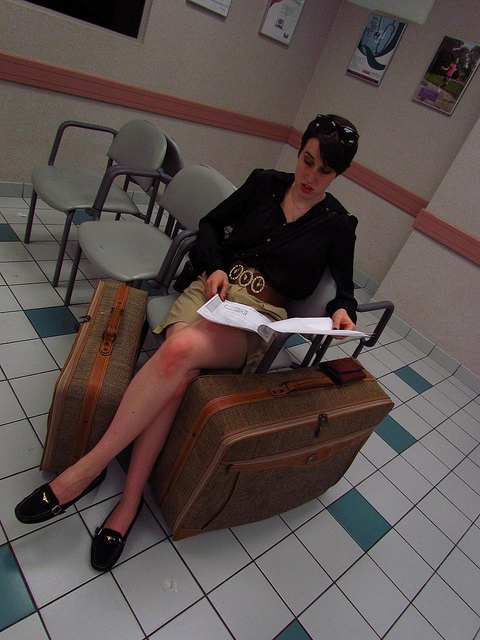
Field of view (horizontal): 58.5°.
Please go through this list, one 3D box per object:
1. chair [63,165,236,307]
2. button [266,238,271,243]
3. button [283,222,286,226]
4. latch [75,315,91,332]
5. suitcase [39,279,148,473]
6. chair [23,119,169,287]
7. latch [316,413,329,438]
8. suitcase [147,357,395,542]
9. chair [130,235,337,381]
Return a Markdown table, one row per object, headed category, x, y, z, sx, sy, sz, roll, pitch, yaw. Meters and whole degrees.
| category | x | y | z | sx | sy | sz | roll | pitch | yaw |
| --- | --- | --- | --- | --- | --- | --- | --- | --- | --- |
| chair | -0.398 | -0.355 | 1.822 | 0.476 | 0.627 | 0.506 | -13 | 56 | -42 |
| button | 0.097 | -0.272 | 1.464 | 0.018 | 0.017 | 0.006 | 3 | -5 | 9 |
| button | 0.154 | -0.329 | 1.482 | 0.008 | 0.007 | 0.028 | 21 | 28 | -10 |
| latch | -0.523 | 0.013 | 1.421 | 0.016 | 0.064 | 0.047 | 43 | 7 | -43 |
| suitcase | -0.450 | 0.184 | 1.316 | 0.200 | 0.396 | 0.544 | 19 | 40 | -13 |
| chair | -0.758 | -0.630 | 2.285 | 0.696 | 0.788 | 0.667 | 22 | 33 | 0 |
| latch | 0.227 | 0.284 | 1.165 | 0.038 | 0.057 | 0.015 | -14 | 11 | -5 |
| suitcase | 0.074 | 0.390 | 1.257 | 0.712 | 0.566 | 0.268 | -8 | 52 | -36 |
| chair | -0.014 | -0.049 | 1.398 | 0.274 | 0.457 | 0.307 | -12 | 62 | -51 |
